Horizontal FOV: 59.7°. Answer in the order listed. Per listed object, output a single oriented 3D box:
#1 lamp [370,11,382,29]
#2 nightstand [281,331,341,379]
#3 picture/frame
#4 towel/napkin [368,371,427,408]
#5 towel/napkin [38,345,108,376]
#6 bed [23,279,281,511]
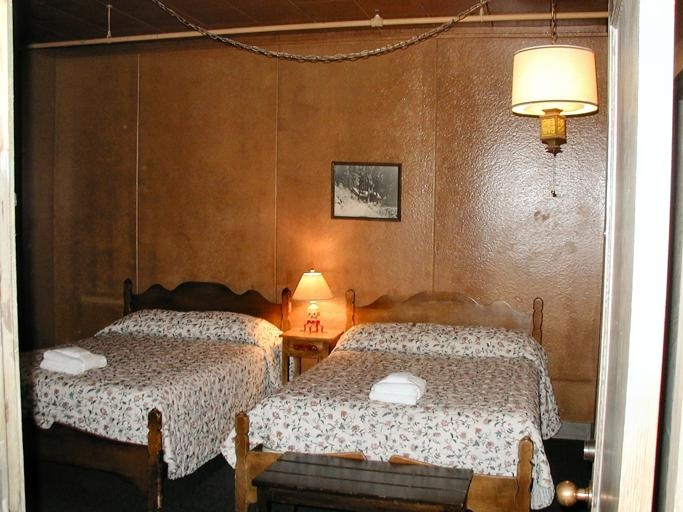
[{"bbox_3d":[0.287,-1.882,4.776,0.083,0.125,0.040,0,0,6],"label":"lamp"},{"bbox_3d":[-0.262,0.843,5.251,0.373,0.568,0.453,1,1,14],"label":"nightstand"},{"bbox_3d":[0.243,-0.595,5.290,0.517,0.447,0.028,2,8,15],"label":"picture/frame"},{"bbox_3d":[0.327,0.758,3.463,0.317,0.134,0.287,4,5,11],"label":"towel/napkin"},{"bbox_3d":[-1.813,0.697,3.975,0.214,0.081,0.223,6,1,23],"label":"towel/napkin"},{"bbox_3d":[-1.266,0.770,4.216,1.124,0.981,1.522,3,6,17],"label":"bed"}]
